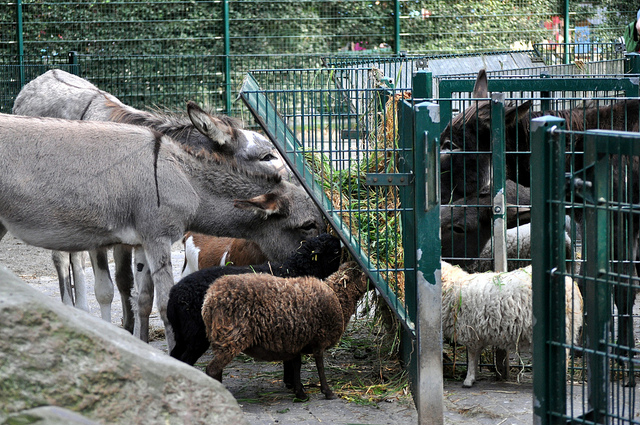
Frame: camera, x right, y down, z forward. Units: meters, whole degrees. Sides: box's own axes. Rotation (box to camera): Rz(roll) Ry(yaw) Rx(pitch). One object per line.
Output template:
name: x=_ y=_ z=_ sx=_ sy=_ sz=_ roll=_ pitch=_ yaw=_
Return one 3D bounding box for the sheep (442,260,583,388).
sheep: x=1.626 y=1.059 z=10.028 sx=1.636 sy=1.293 sz=0.631 roll=-2 pitch=-2 yaw=30

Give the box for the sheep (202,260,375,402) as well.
sheep: x=-0.240 y=1.069 z=9.843 sx=1.607 sy=1.512 sz=0.679 roll=-2 pitch=14 yaw=-14
